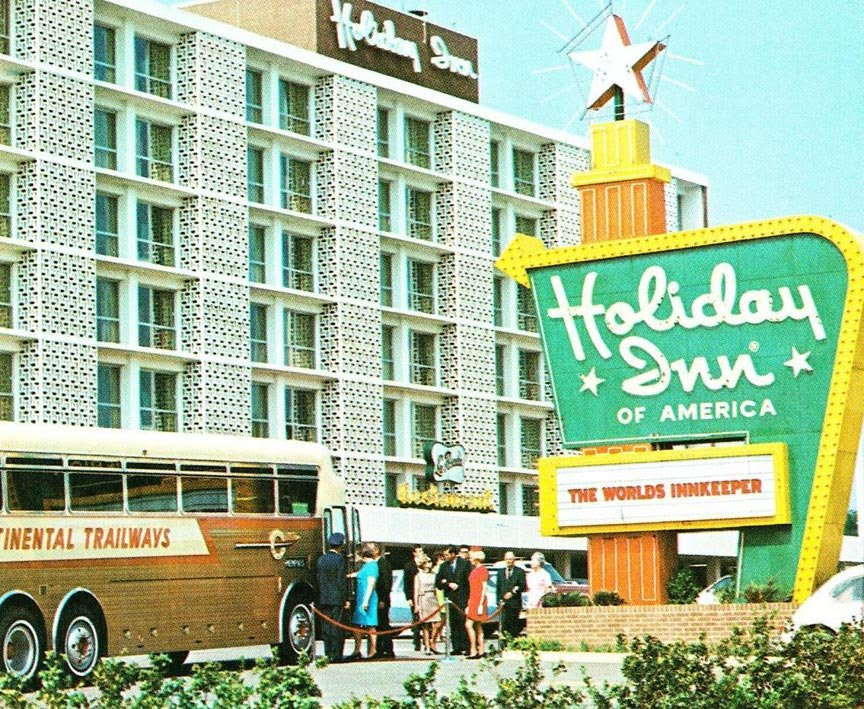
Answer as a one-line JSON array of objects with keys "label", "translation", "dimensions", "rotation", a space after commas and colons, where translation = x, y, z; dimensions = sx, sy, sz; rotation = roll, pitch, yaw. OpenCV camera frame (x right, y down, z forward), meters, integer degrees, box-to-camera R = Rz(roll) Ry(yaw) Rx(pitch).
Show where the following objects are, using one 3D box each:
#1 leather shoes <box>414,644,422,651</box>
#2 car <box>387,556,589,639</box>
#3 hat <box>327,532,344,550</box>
[{"label": "leather shoes", "translation": [-0.335, 6.234, 38.899], "dimensions": [0.129, 0.129, 0.132], "rotation": [-1, -5, 6]}, {"label": "car", "translation": [1.060, 6.108, 45.336], "dimensions": [5.023, 1.886, 2.461], "rotation": [-7, -9, 29]}, {"label": "hat", "translation": [-1.841, 3.553, 35.054], "dimensions": [0.244, 0.327, 0.321], "rotation": [5, 25, 5]}]
